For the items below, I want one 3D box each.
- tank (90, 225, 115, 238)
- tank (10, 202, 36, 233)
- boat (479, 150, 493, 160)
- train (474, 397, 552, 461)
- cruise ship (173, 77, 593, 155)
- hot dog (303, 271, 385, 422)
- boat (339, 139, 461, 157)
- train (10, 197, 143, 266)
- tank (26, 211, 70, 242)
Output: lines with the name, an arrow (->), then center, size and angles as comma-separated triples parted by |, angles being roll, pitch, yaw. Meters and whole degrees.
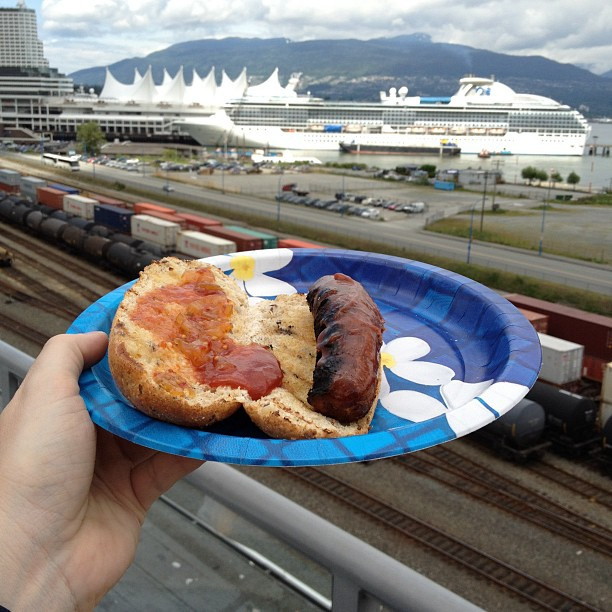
tank -> -7.333, -2.722, 19.844 | 0.898, 0.297, 0.834 | -13, 27, -33
tank -> -12.395, -3.955, 23.811 | 0.792, 1.039, 2.656 | -19, 23, -36
boat -> 20.212, -17.018, 61.479 | 1.445, 0.533, 1.711 | -5, 20, 5
train -> 3.837, 2.173, 9.753 | 0.963, 1.108, 0.797 | -11, 20, -28
cruise ship -> 9.780, -22.720, 65.689 | 49.388, 8.062, 7.184 | -1, 15, -7
hot dog -> 0.118, 0.102, 1.735 | 0.250, 0.155, 0.563 | 5, 40, -6
boat -> 11.138, -17.963, 61.999 | 14.993, 1.830, 1.634 | 2, 23, -2
train -> -8.944, -2.776, 20.933 | 8.726, 0.968, 1.465 | 21, 25, 38
tank -> -10.321, -3.162, 21.727 | 2.684, 0.950, 0.802 | 19, 44, 37
